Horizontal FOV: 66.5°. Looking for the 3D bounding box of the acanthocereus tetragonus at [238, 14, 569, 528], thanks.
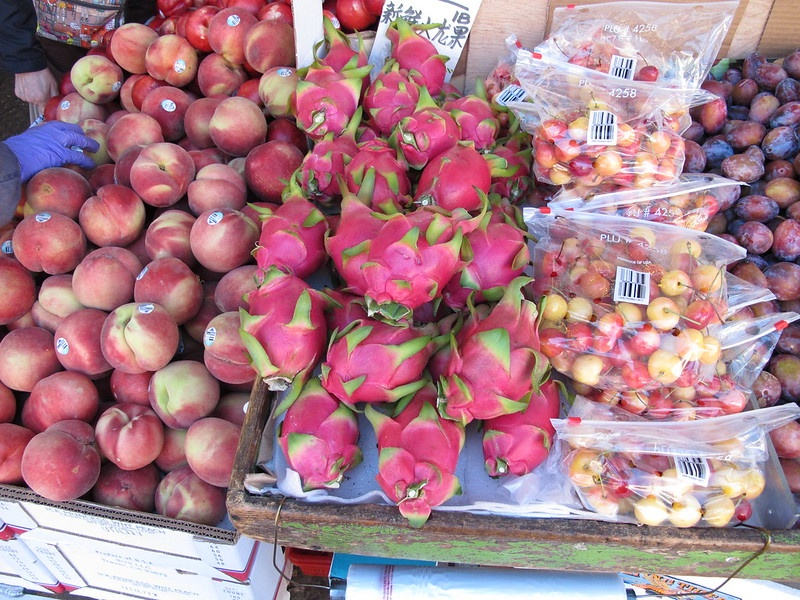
[{"bbox_3d":[-0.001,-0.052,1.575,0.671,0.440,1.150,1,74,2],"label":"acanthocereus tetragonus"}]
